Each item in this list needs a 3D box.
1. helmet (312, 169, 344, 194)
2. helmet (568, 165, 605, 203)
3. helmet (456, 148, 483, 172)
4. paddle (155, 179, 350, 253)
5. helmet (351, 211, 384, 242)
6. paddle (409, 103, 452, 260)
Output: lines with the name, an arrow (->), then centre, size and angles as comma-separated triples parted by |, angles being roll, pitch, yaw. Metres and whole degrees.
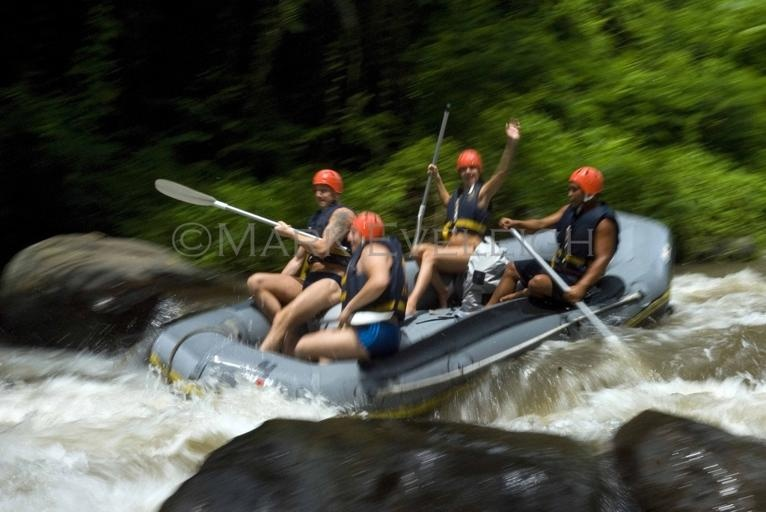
helmet -> -0.548, -0.786, 8.458 | 0.337, 0.254, 0.256 | -23, 21, -28
helmet -> 2.156, -0.746, 8.385 | 0.302, 0.338, 0.314 | 18, 40, 22
helmet -> 0.986, -1.090, 9.059 | 0.241, 0.271, 0.315 | -1, 5, 15
paddle -> -1.762, -0.521, 10.961 | 2.902, 0.319, 0.119 | 22, 11, -2
helmet -> -0.097, -0.284, 7.767 | 0.244, 0.288, 0.302 | -9, 22, -44
paddle -> 0.677, -0.966, 11.035 | 0.191, 2.528, 0.235 | 20, 9, 12
